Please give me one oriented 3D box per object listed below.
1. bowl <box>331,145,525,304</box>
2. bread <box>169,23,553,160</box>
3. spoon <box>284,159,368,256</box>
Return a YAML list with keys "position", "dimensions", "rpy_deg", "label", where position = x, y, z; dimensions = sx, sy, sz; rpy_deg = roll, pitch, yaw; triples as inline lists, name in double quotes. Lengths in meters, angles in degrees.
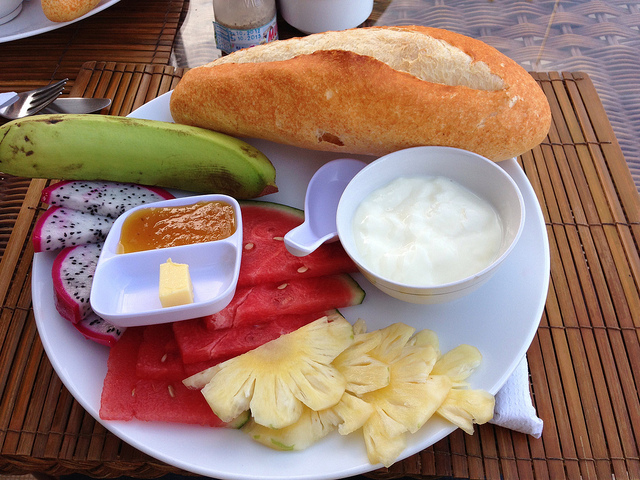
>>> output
- position: [0.196, -0.036, 0.948]
  dimensions: [0.318, 0.102, 0.307]
  rpy_deg: [0, 63, 0]
  label: "bowl"
- position: [0.057, -0.342, 1.124]
  dimensions: [0.813, 0.274, 0.321]
  rpy_deg: [4, 46, 8]
  label: "bread"
- position: [0.015, -0.070, 1.038]
  dimensions: [0.133, 0.081, 0.224]
  rpy_deg: [24, 75, 26]
  label: "spoon"
